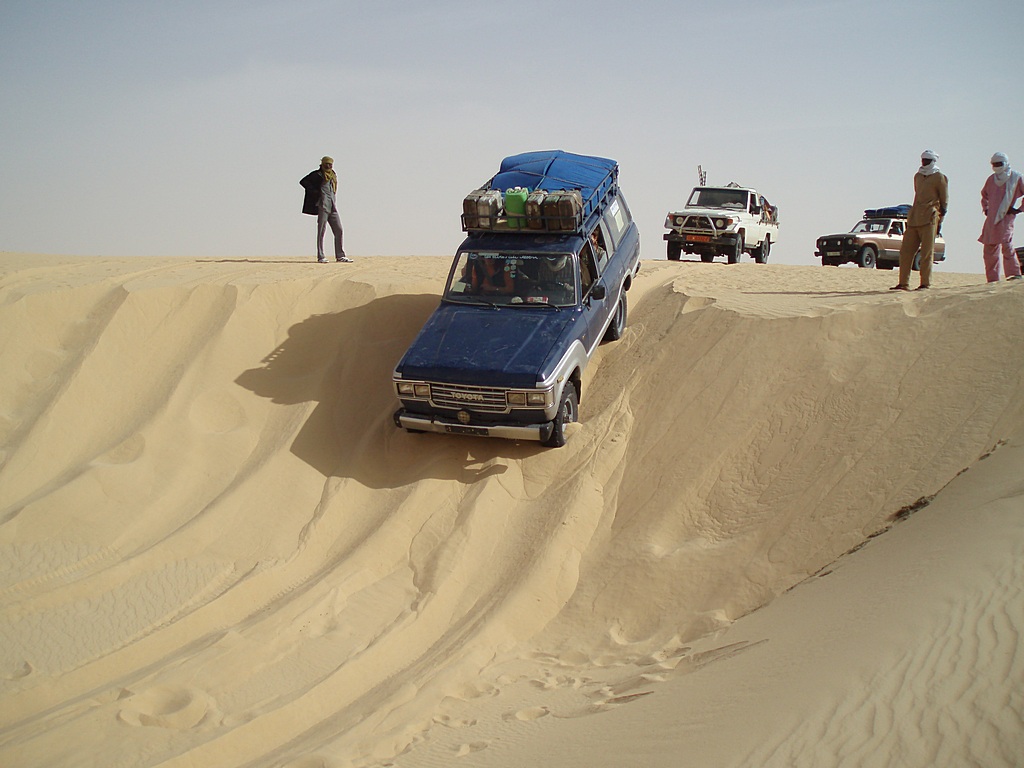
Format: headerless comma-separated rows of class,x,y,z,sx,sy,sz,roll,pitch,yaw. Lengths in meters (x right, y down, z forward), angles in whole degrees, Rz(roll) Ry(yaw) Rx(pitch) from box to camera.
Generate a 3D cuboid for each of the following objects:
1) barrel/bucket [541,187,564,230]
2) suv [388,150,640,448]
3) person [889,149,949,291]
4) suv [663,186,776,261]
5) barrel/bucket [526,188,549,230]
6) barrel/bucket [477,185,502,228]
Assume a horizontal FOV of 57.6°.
barrel/bucket,0.491,-2.249,12.164,0.325,0.566,0.633,3,26,8
suv,0.307,-1.307,12.856,2.209,2.780,5.293,8,43,16
person,5.822,-2.306,13.256,0.583,1.935,0.789,5,9,22
suv,4.354,-3.435,19.673,1.495,1.623,3.179,9,11,38
barrel/bucket,0.349,-2.237,12.401,0.344,0.605,0.656,0,6,-2
barrel/bucket,-0.256,-2.358,12.506,0.344,0.497,0.673,1,21,6
